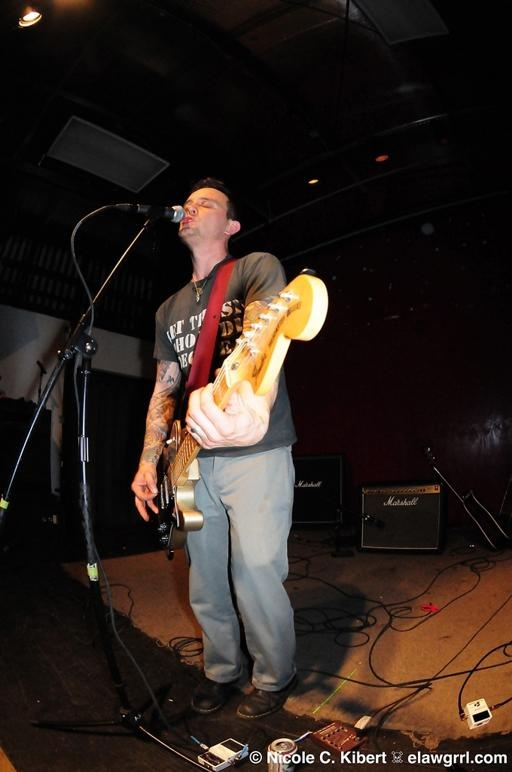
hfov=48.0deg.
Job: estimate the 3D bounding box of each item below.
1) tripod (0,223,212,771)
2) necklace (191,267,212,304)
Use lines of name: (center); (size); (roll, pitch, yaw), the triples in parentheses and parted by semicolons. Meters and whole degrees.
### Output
tripod: (-0.599, 0.254, 2.095); (0.645, 1.900, 0.833); (-1, -4, -17)
necklace: (-0.226, -0.401, 2.278); (0.057, 0.103, 0.028); (-3, -7, 17)
